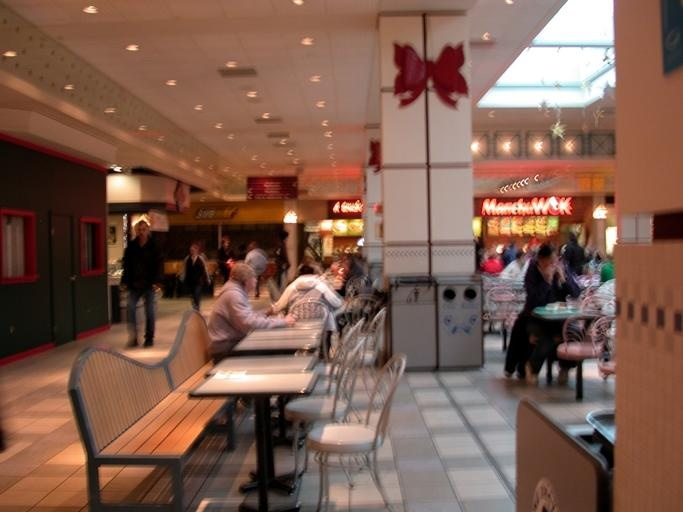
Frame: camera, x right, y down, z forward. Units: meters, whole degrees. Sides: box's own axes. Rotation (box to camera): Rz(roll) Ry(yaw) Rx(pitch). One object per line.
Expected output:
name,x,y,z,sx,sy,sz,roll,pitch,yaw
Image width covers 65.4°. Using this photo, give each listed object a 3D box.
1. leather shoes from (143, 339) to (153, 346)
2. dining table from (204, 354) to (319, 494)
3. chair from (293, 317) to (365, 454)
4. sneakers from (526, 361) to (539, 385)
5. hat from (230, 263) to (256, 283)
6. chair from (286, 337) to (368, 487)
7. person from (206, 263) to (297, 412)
leather shoes,-2.982,1.338,8.225,0.128,0.135,0.086,-5,-1,19
dining table,-0.461,1.012,3.166,0.547,0.660,0.959,3,-24,-20
chair,-0.128,0.931,3.571,0.486,1.014,0.355,3,2,-2
sneakers,1.999,1.218,5.617,0.098,0.232,0.253,-2,2,-8
hat,-0.866,0.149,4.682,0.222,0.186,0.229,-2,2,-13
chair,-0.110,0.984,3.563,0.512,0.845,0.451,-2,0,-24
person,-0.846,0.685,4.826,0.722,1.208,0.522,1,12,-26
